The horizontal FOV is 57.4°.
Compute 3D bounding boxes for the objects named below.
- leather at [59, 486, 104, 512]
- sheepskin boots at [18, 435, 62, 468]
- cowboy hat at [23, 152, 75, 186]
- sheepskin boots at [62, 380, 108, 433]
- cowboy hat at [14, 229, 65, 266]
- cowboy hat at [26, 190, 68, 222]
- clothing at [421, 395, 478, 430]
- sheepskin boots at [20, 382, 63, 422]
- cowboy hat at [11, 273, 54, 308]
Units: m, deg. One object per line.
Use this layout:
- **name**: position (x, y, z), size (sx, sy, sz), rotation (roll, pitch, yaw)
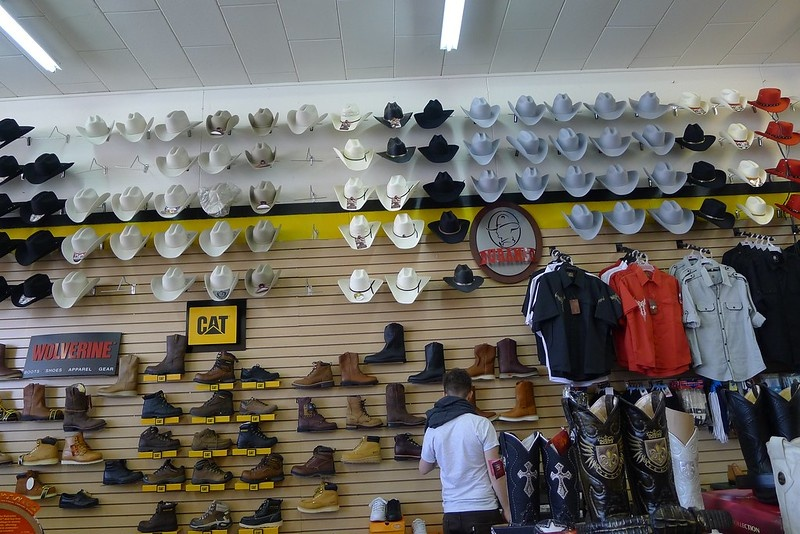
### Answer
- **leather**: position (-3.870, 2.757, 8.725), size (0.512, 0.277, 0.212), rotation (1, -11, 4)
- **sheepskin boots**: position (-4.408, 2.206, 8.803), size (0.598, 0.479, 0.254), rotation (1, -12, 2)
- **cowboy hat**: position (-4.572, -1.268, 9.422), size (0.396, 0.455, 0.183), rotation (12, -51, 16)
- **sheepskin boots**: position (-3.868, 1.706, 8.929), size (0.485, 0.576, 0.265), rotation (0, 0, -4)
- **cowboy hat**: position (-4.547, -0.358, 9.238), size (0.427, 0.228, 0.543), rotation (28, 42, 32)
- **cowboy hat**: position (-4.543, -0.784, 9.298), size (0.494, 0.393, 0.254), rotation (-1, -14, -10)
- **clothing**: position (0.555, 1.518, 7.765), size (0.590, 0.260, 0.487), rotation (17, -44, -33)
- **sheepskin boots**: position (-4.426, 1.670, 8.992), size (0.482, 0.504, 0.241), rotation (7, -34, -32)
- **cowboy hat**: position (-4.589, 0.316, 9.167), size (0.382, 0.193, 0.467), rotation (28, 46, 27)
